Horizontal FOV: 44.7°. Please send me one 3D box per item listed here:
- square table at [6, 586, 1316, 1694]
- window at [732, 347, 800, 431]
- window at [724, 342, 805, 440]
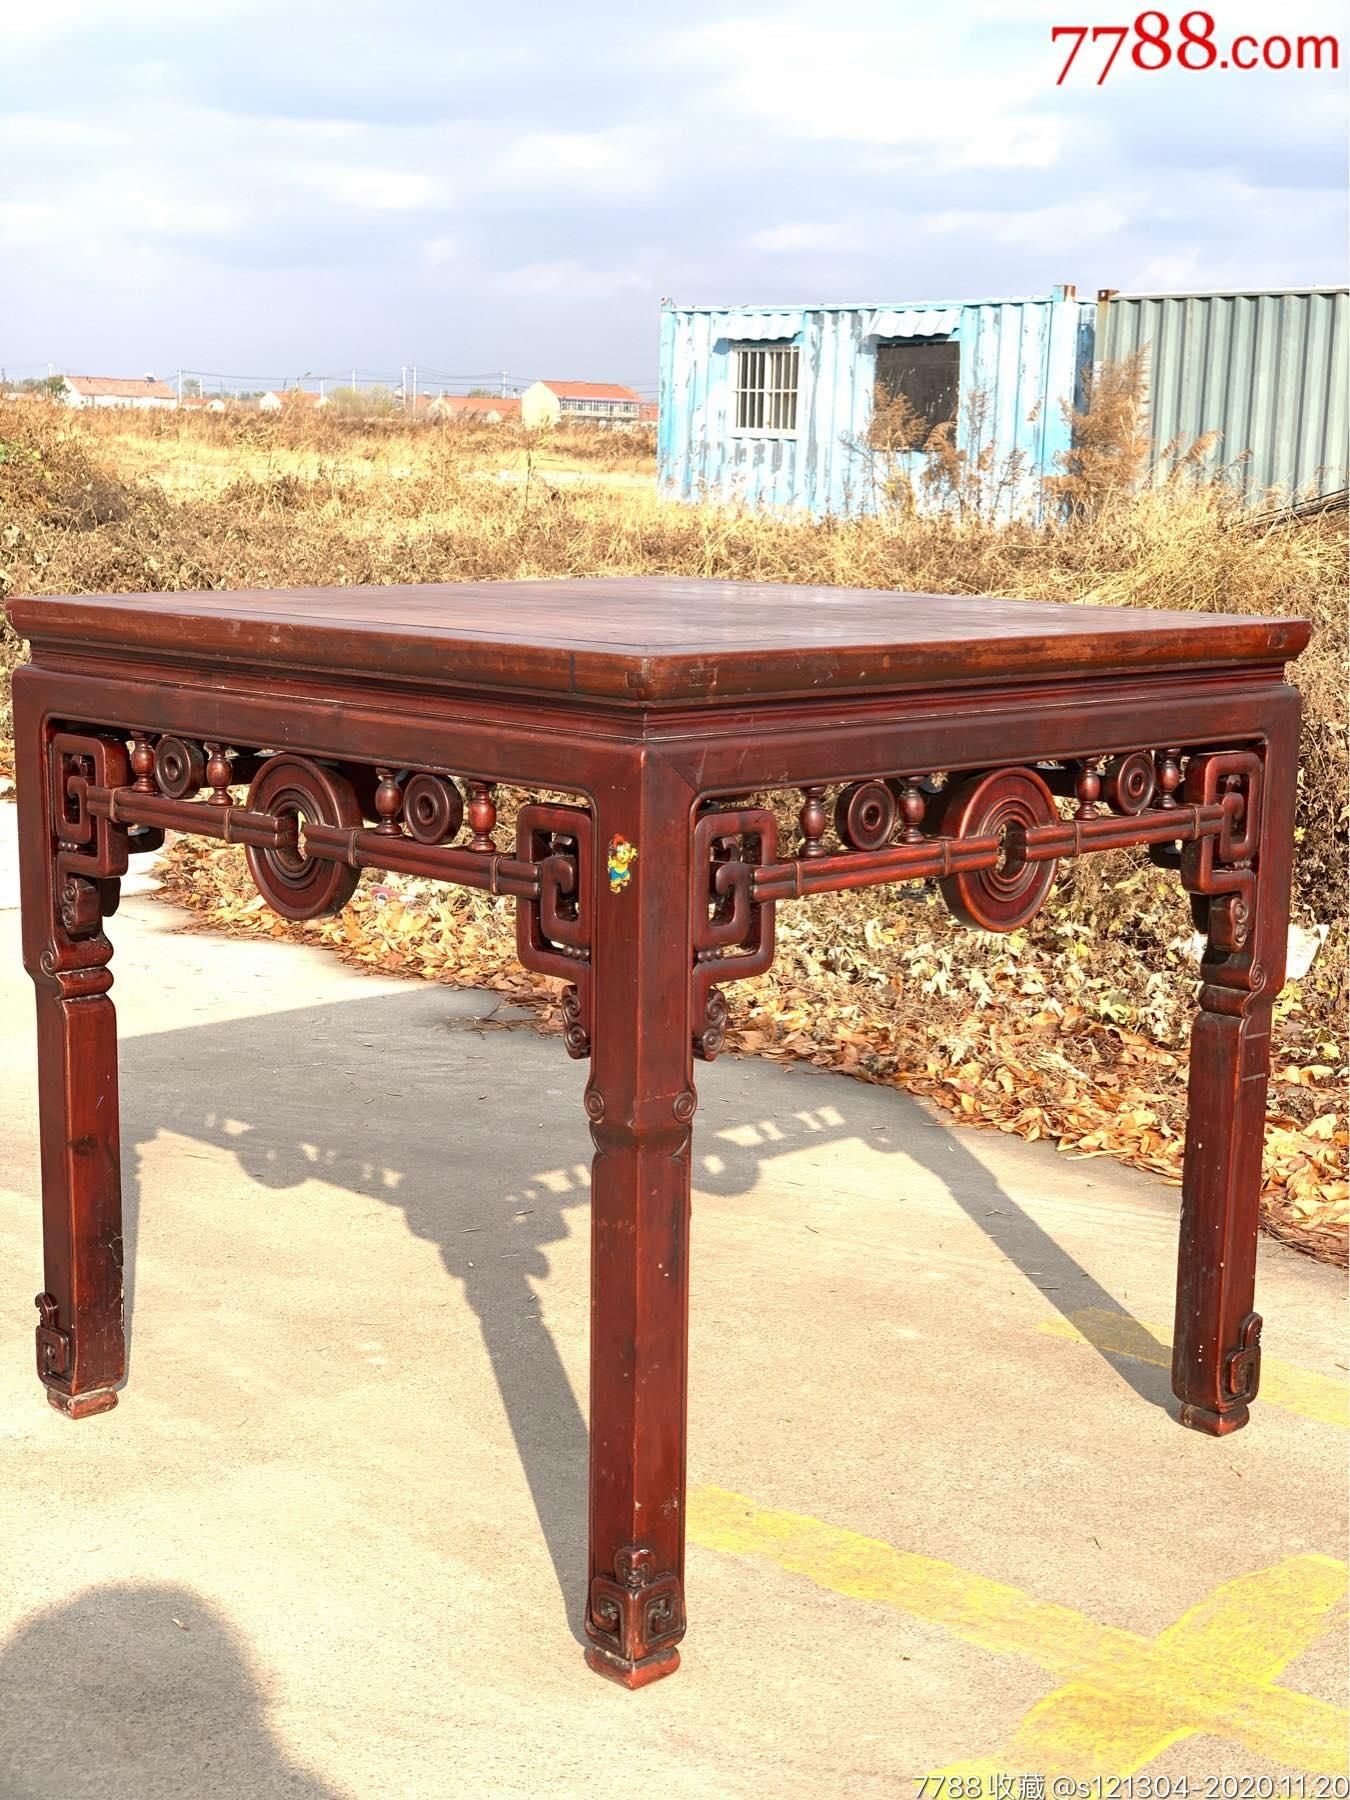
[{"bbox_3d":[0.088,0.267,2.877,1.794,1.301,1.777,-7,13,-41],"label":"square table"},{"bbox_3d":[1.040,-5.654,18.063,1.038,1.034,0.084,13,18,36],"label":"window"},{"bbox_3d":[1.034,-5.629,18.061,1.285,1.271,0.143,7,15,34],"label":"window"}]
